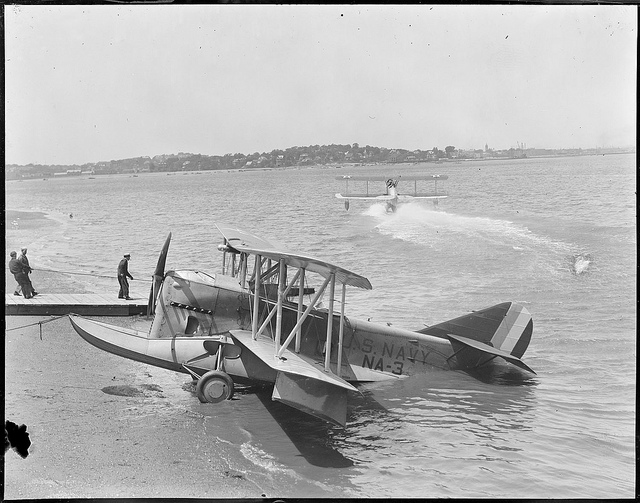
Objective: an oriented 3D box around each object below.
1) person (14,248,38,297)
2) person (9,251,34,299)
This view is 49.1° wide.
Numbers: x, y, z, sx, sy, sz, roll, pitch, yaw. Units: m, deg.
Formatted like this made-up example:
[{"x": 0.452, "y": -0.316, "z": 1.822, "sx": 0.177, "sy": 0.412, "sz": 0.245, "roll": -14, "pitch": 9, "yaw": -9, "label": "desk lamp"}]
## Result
[{"x": -13.182, "y": 0.950, "z": 31.297, "sx": 1.217, "sy": 2.283, "sz": 0.769, "roll": 5, "pitch": 47, "yaw": -11, "label": "person"}, {"x": -11.150, "y": 1.009, "z": 25.983, "sx": 0.460, "sy": 1.630, "sz": 1.031, "roll": 1, "pitch": 9, "yaw": -6, "label": "person"}]
